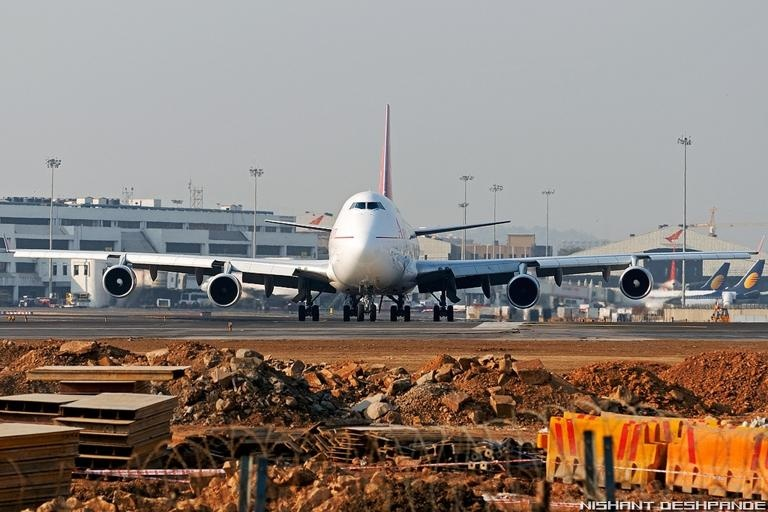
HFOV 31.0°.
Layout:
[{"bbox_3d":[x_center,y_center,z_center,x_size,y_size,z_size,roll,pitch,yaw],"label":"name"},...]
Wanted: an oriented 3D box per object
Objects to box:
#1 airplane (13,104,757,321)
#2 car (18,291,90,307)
[{"bbox_3d":[-0.247,-1.294,58.032,22.263,7.937,12.369,1,-4,-10],"label":"airplane"},{"bbox_3d":[-25.932,3.409,109.173,5.042,1.057,1.224,-1,3,5],"label":"car"}]
